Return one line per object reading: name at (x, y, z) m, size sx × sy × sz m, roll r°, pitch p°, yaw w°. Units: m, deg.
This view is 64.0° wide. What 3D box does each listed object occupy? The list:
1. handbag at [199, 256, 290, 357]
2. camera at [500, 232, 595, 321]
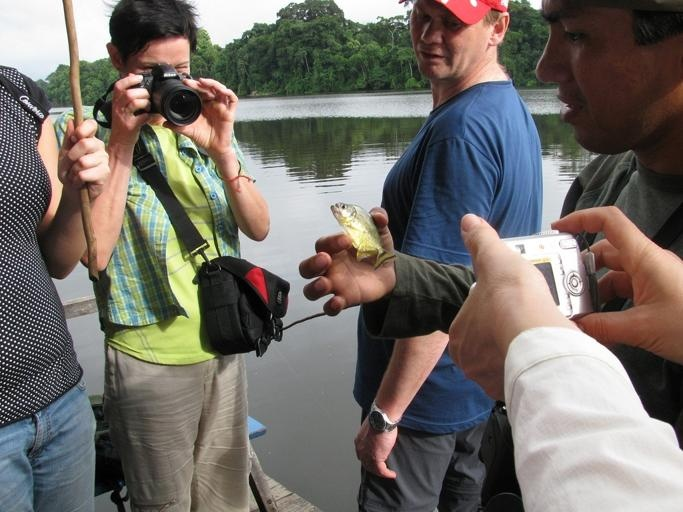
handbag at (-0.566, 0.261, 3.349) m, size 0.464 × 0.676 × 0.685 m, roll -6°, pitch -11°, yaw 15°
camera at (0.753, 0.073, 2.002) m, size 0.295 × 0.322 × 0.092 m, roll -11°, pitch -13°, yaw -10°
